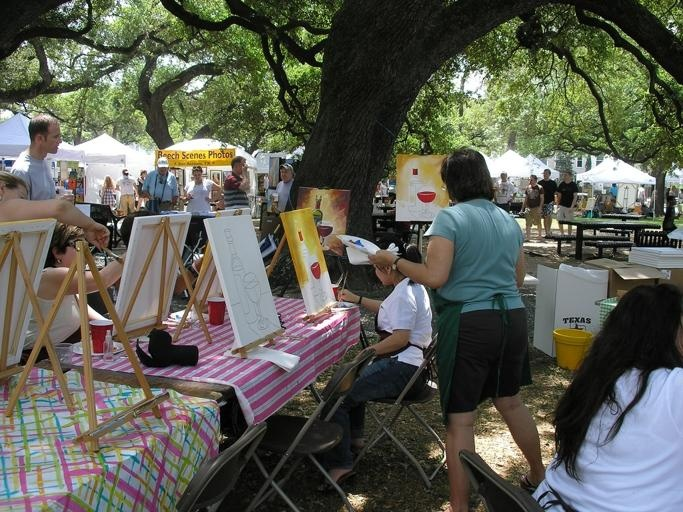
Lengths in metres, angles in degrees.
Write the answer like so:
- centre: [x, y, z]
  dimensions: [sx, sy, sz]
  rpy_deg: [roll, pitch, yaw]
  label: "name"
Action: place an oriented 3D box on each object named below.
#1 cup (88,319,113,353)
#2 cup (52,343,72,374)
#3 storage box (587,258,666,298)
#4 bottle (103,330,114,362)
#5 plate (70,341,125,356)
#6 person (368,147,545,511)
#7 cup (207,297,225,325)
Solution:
- centre: [-1.328, 0.440, 2.966]
  dimensions: [0.148, 0.176, 0.151]
  rpy_deg: [5, -1, 0]
  label: "cup"
- centre: [-1.419, 0.517, 2.708]
  dimensions: [0.112, 0.133, 0.118]
  rpy_deg: [0, 2, 0]
  label: "cup"
- centre: [3.134, 0.196, 5.780]
  dimensions: [0.616, 0.319, 0.624]
  rpy_deg: [1, 8, -1]
  label: "storage box"
- centre: [-1.290, 0.479, 2.925]
  dimensions: [0.047, 0.144, 0.130]
  rpy_deg: [0, 6, -24]
  label: "bottle"
- centre: [-1.276, 0.478, 2.770]
  dimensions: [0.184, 0.026, 0.191]
  rpy_deg: [2, 4, -4]
  label: "plate"
- centre: [0.785, 0.472, 3.062]
  dimensions: [0.909, 2.180, 0.586]
  rpy_deg: [0, 6, -24]
  label: "person"
- centre: [-0.835, 0.359, 3.528]
  dimensions: [0.154, 0.174, 0.157]
  rpy_deg: [1, 1, 0]
  label: "cup"
